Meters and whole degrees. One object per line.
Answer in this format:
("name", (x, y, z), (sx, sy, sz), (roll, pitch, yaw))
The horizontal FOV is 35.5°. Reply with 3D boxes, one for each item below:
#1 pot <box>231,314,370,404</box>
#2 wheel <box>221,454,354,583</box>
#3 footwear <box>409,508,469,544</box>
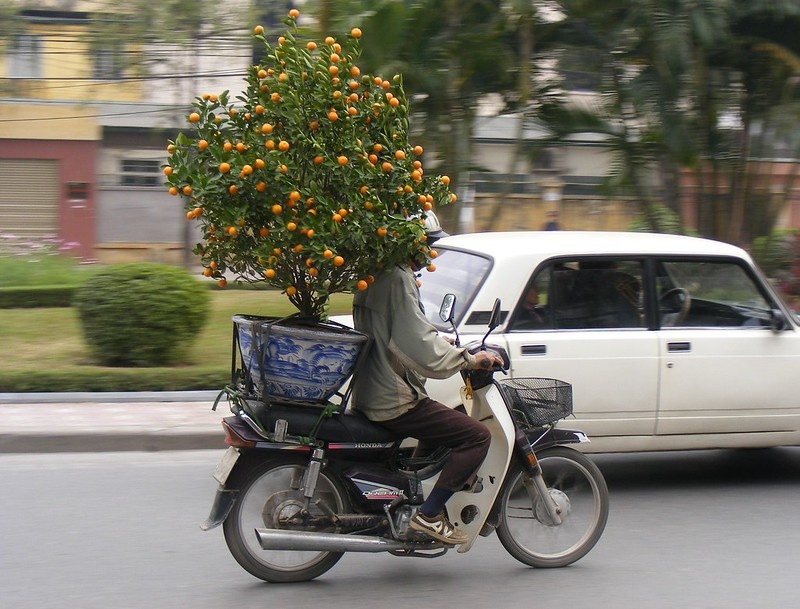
("pot", (-0.763, 0.464, 9.275), (1.015, 0.430, 0.885), (2, -9, 26))
("wheel", (-0.820, 1.505, 9.053), (1.387, 1.004, 0.363), (3, 2, -4))
("footwear", (0.219, 1.612, 9.147), (0.513, 0.171, 0.177), (17, -17, -10))
